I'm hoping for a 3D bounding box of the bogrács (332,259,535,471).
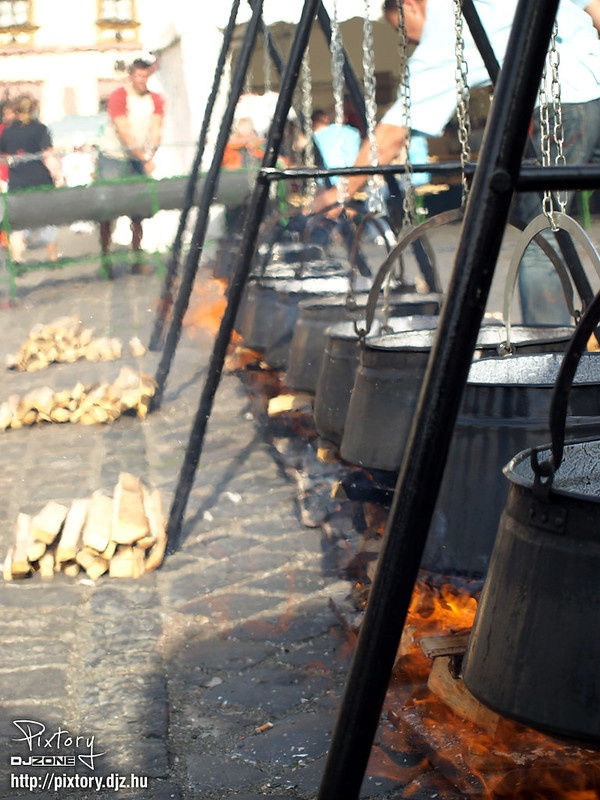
[{"bbox_3d":[0.194,-0.086,1.870,0.434,0.366,0.356,-2,15,-14],"label":"bogrács"}]
